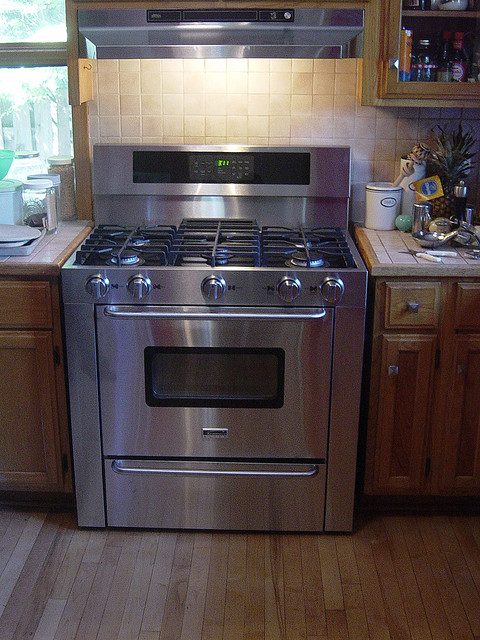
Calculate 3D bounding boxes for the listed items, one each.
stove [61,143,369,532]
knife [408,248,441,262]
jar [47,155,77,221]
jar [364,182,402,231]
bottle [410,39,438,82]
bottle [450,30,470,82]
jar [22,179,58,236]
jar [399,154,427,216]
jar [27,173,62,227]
[{"bbox_3d":[-0.083,0.043,1.705,0.891,1.226,0.610,1,10,4],"label":"stove"},{"bbox_3d":[0.543,-0.193,1.581,0.060,0.028,0.167,-2,12,-10],"label":"knife"},{"bbox_3d":[-0.658,-0.503,1.979,0.088,0.256,0.083,2,24,-1],"label":"jar"},{"bbox_3d":[0.486,-0.409,1.925,0.128,0.181,0.146,-4,19,-10],"label":"jar"},{"bbox_3d":[0.556,-0.794,1.616,0.073,0.164,0.080,-2,20,1],"label":"bottle"},{"bbox_3d":[0.668,-0.806,1.621,0.060,0.151,0.028,-2,10,-11],"label":"bottle"},{"bbox_3d":[-0.682,-0.387,1.820,0.118,0.189,0.173,-5,12,-23],"label":"jar"},{"bbox_3d":[0.625,-0.474,1.908,0.098,0.187,0.051,-3,11,-17],"label":"jar"},{"bbox_3d":[-0.690,-0.457,1.937,0.085,0.226,0.113,-2,27,-4],"label":"jar"}]
